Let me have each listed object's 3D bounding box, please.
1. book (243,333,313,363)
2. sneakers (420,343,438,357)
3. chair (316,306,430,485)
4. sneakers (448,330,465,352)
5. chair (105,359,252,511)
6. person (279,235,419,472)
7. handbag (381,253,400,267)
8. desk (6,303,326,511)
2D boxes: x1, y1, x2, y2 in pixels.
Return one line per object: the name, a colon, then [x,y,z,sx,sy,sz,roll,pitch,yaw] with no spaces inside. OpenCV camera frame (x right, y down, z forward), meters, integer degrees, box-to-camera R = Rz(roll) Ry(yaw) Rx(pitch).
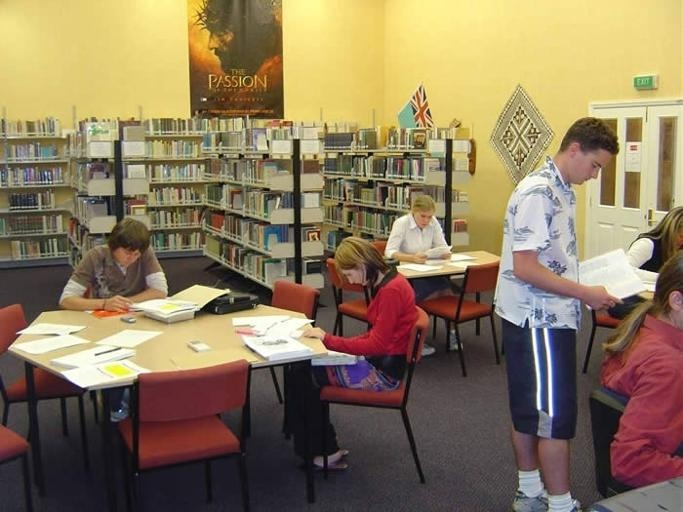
book: [-0.356,0.506,3.199,0.320,0.048,0.340,-6,13,-23]
sneakers: [0.835,0.919,5.464,0.163,0.095,0.255,-5,3,-6]
chair: [0.277,0.797,3.865,0.930,1.357,0.844,2,4,-1]
sneakers: [1.079,0.795,5.470,0.170,0.071,0.271,1,9,-4]
chair: [-0.858,0.948,2.993,0.660,1.121,0.696,-4,21,-21]
person: [-0.034,0.471,4.246,1.243,2.107,0.923,3,7,4]
handbag: [0.456,0.018,5.441,0.135,0.035,0.145,-5,13,-33]
desk: [-1.105,0.519,3.347,1.298,0.688,1.293,-5,9,-34]
